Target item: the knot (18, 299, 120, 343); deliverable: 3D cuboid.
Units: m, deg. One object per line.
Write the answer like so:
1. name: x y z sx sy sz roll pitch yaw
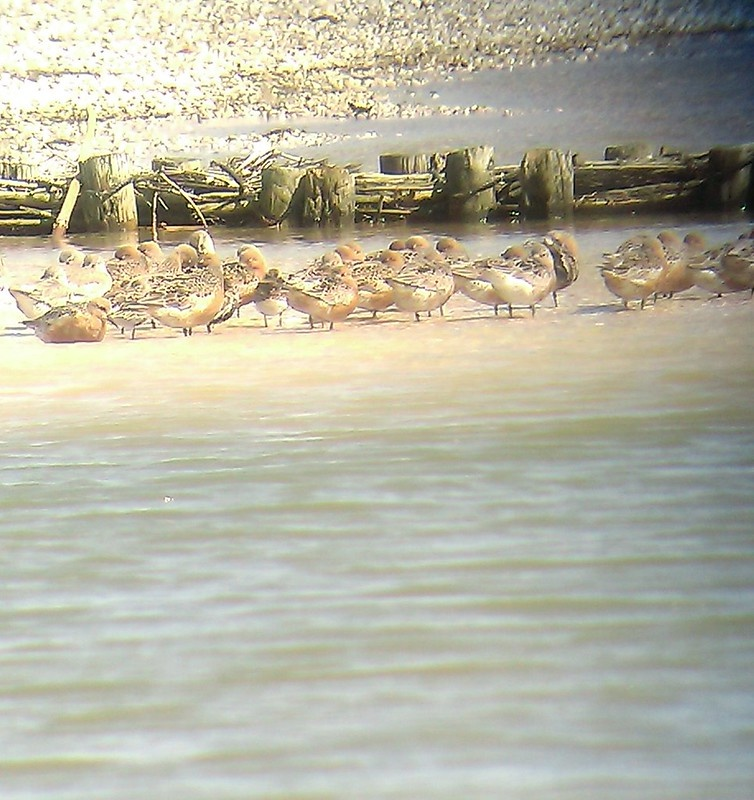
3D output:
1. knot: -0.593 -0.151 1.962 0.161 0.085 0.066 0 24 -7

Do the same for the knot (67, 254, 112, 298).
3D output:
1. knot: -0.556 -0.237 1.986 0.104 0.058 0.104 1 18 4

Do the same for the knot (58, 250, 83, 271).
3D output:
1. knot: -0.592 -0.274 1.986 0.048 0.036 0.019 0 26 -8
